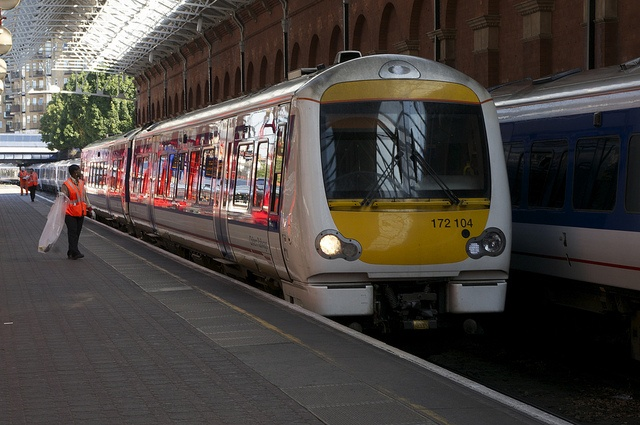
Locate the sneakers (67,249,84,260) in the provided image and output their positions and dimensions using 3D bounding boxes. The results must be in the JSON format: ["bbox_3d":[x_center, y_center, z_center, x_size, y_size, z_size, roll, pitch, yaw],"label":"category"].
[{"bbox_3d":[-6.515,1.093,13.944,0.197,0.261,0.584,2,-7,-38],"label":"sneakers"}]
